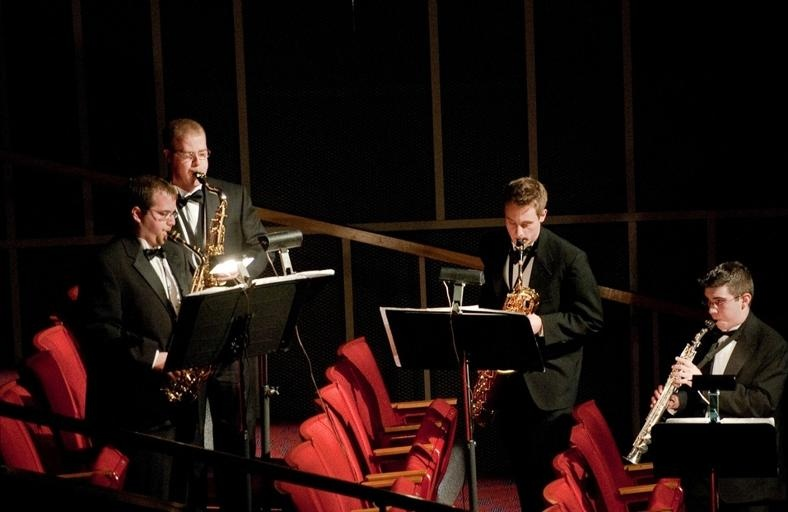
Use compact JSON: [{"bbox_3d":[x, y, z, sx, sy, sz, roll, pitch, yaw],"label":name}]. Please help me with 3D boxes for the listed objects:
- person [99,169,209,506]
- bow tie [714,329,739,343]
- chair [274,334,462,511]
[{"bbox_3d":[-1.657,0.511,5.218,0.605,2.044,0.344,5,-8,-15],"label":"person"},{"bbox_3d":[2.334,0.557,5.626,0.100,0.024,0.099,-18,1,14],"label":"bow tie"},{"bbox_3d":[-0.209,1.153,5.542,0.493,0.554,1.373,-3,10,10],"label":"chair"}]
